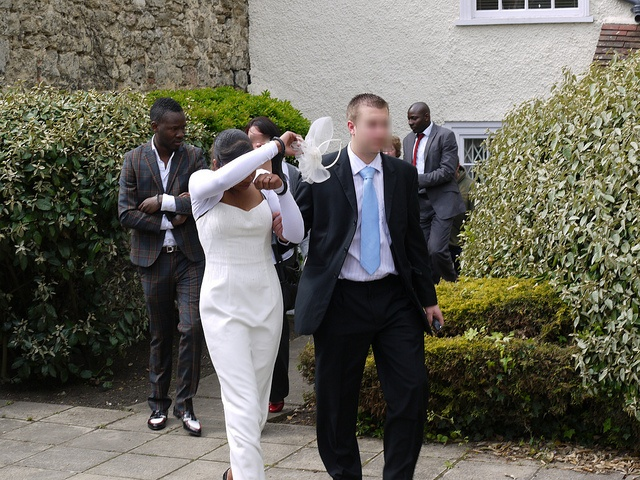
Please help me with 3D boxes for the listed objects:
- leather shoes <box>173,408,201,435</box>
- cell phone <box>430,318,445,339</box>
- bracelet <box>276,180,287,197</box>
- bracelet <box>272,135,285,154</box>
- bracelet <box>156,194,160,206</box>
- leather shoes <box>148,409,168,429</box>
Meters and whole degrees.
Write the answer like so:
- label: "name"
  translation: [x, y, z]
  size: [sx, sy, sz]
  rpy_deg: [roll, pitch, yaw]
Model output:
- label: "leather shoes"
  translation: [-1.090, 1.530, 5.990]
  size: [0.110, 0.159, 0.328]
  rpy_deg: [1, 25, -45]
- label: "cell phone"
  translation: [0.836, 0.627, 4.959]
  size: [0.043, 0.119, 0.152]
  rpy_deg: [-12, -26, 2]
- label: "bracelet"
  translation: [-0.233, -0.336, 4.507]
  size: [0.024, 0.079, 0.076]
  rpy_deg: [10, -18, -18]
- label: "bracelet"
  translation: [-0.283, -0.645, 4.666]
  size: [0.039, 0.124, 0.119]
  rpy_deg: [-13, -5, -7]
- label: "bracelet"
  translation: [-1.385, -0.355, 6.055]
  size: [0.031, 0.082, 0.057]
  rpy_deg: [4, 9, -17]
- label: "leather shoes"
  translation: [-1.385, 1.545, 6.064]
  size: [0.177, 0.132, 0.191]
  rpy_deg: [-5, 8, -22]
